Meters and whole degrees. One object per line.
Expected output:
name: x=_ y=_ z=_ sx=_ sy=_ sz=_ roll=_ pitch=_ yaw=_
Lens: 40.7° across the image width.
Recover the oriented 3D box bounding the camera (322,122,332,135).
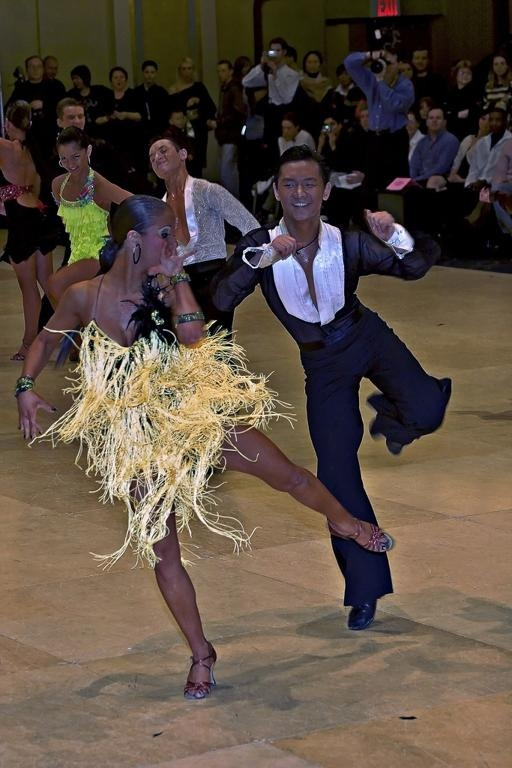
camera: x=1.230 y=-4.404 z=11.886 sx=0.177 sy=0.145 sz=0.098 roll=-1 pitch=-19 yaw=0

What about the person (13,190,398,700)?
person: x=-0.131 y=0.180 z=1.934 sx=0.919 sy=1.379 sz=0.638 roll=-3 pitch=4 yaw=-25

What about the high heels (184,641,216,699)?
high heels: x=-0.154 y=0.788 z=1.920 sx=0.082 sy=0.065 sz=0.194 roll=-6 pitch=7 yaw=5

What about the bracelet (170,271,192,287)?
bracelet: x=-0.197 y=-0.275 z=1.847 sx=0.045 sy=0.029 sz=0.050 roll=-20 pitch=-5 yaw=-3

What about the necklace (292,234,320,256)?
necklace: x=0.171 y=-0.470 z=2.348 sx=0.084 sy=0.019 sz=0.065 roll=-31 pitch=-2 yaw=17

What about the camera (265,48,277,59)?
camera: x=0.283 y=-5.864 z=12.331 sx=0.256 sy=0.202 sz=0.211 roll=1 pitch=-12 yaw=1

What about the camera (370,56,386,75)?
camera: x=1.914 y=-4.920 z=10.707 sx=0.266 sy=0.223 sz=0.148 roll=-2 pitch=3 yaw=-9

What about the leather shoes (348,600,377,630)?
leather shoes: x=0.379 y=0.805 z=2.427 sx=0.056 sy=0.053 sz=0.140 roll=-8 pitch=8 yaw=23

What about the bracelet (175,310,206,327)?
bracelet: x=-0.174 y=-0.175 z=1.855 sx=0.077 sy=0.035 sz=0.044 roll=-2 pitch=3 yaw=-19
